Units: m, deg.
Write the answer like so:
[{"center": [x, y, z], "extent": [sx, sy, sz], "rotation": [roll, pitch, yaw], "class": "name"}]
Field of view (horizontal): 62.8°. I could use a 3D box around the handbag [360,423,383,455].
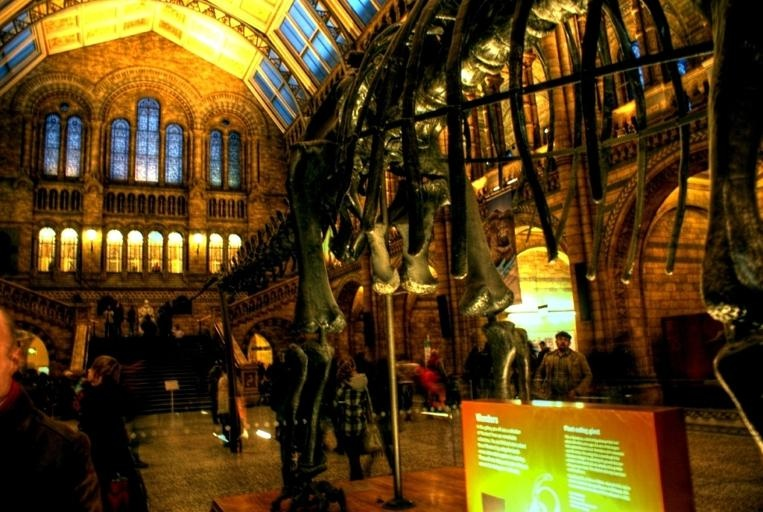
[{"center": [-0.081, 1.850, 6.377], "extent": [0.087, 0.281, 0.309], "rotation": [-8, -11, 24], "class": "handbag"}]
